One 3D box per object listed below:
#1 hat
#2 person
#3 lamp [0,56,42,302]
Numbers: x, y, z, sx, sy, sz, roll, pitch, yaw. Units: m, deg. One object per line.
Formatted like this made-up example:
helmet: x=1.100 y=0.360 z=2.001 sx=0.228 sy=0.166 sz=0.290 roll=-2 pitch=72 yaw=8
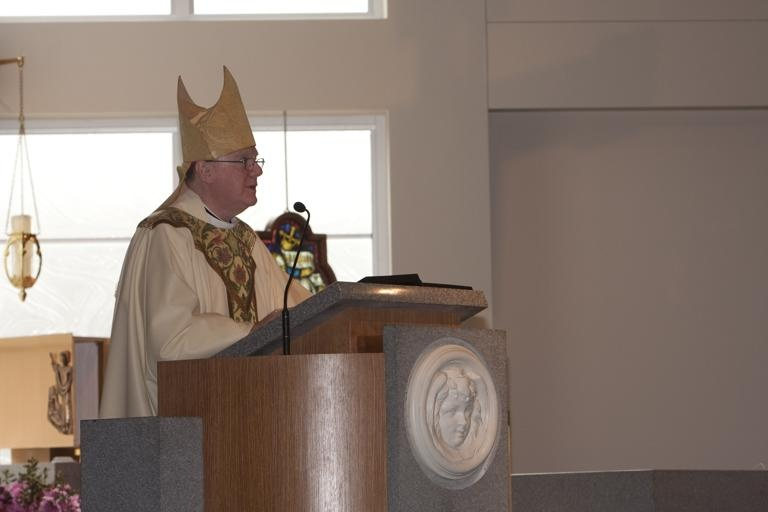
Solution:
hat: x=-0.905 y=-0.763 z=8.287 sx=0.499 sy=0.538 sz=0.442 roll=-11 pitch=-1 yaw=-7
person: x=-1.000 y=0.119 z=8.125 sx=0.545 sy=1.398 sz=0.932 roll=-1 pitch=-1 yaw=33
lamp: x=-2.214 y=-0.485 z=9.550 sx=0.254 sy=1.513 sz=0.512 roll=-1 pitch=-1 yaw=-12
